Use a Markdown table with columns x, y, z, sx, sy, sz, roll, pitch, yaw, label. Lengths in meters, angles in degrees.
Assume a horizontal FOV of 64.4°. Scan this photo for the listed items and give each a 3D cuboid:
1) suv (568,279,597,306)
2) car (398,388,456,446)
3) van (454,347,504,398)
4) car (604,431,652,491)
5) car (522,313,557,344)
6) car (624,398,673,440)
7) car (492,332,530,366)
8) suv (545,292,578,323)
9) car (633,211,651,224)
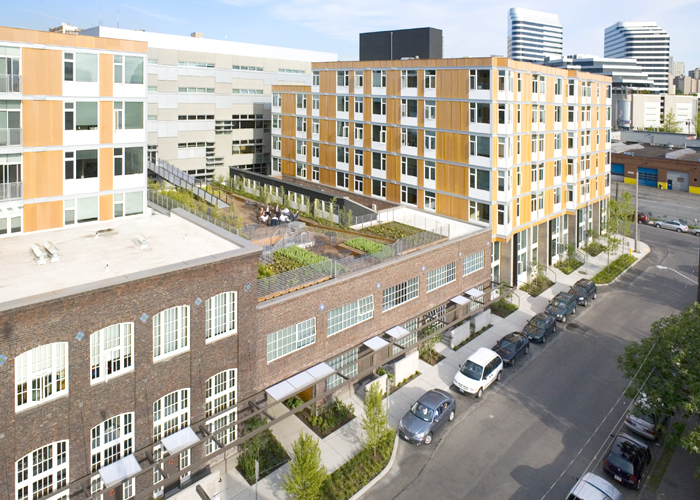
| x | y | z | sx | sy | sz | roll | pitch | yaw | label |
| --- | --- | --- | --- | --- | --- | --- | --- | --- | --- |
| 22.998 | 4.281 | 55.116 | 1.625 | 1.520 | 3.426 | 11 | 15 | 39 | suv |
| 5.490 | 11.441 | 38.478 | 2.194 | 2.140 | 4.839 | 16 | 30 | 40 | car |
| 9.807 | 9.369 | 42.425 | 2.272 | 2.371 | 4.611 | 18 | 27 | 40 | van |
| 17.738 | 13.118 | 35.640 | 2.210 | 2.090 | 4.340 | 15 | 29 | 37 | car |
| 16.750 | 6.758 | 49.058 | 1.981 | 1.472 | 4.325 | 16 | 27 | 39 | car |
| 21.088 | 11.732 | 39.236 | 2.188 | 1.818 | 5.301 | 19 | 20 | 39 | car |
| 13.174 | 8.116 | 45.659 | 1.777 | 1.586 | 4.112 | 17 | 27 | 37 | car |
| 19.739 | 5.495 | 52.062 | 1.721 | 1.564 | 4.043 | 15 | 24 | 41 | suv |
| 41.190 | -4.513 | 79.016 | 1.319 | 1.080 | 2.417 | -2 | 25 | 1 | car |
